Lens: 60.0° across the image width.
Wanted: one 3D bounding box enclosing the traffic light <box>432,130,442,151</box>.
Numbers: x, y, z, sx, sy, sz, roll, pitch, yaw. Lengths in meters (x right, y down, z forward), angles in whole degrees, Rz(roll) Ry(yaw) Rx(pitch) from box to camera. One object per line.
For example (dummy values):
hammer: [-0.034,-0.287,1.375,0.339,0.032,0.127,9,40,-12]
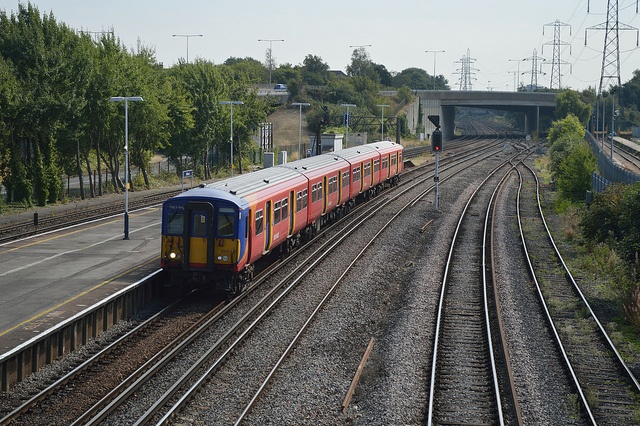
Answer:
traffic light: [8.632,-5.222,41.021,0.642,1.625,1.097,2,13,8]
